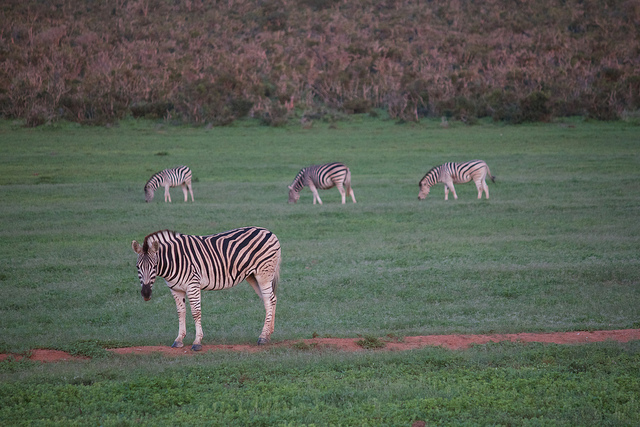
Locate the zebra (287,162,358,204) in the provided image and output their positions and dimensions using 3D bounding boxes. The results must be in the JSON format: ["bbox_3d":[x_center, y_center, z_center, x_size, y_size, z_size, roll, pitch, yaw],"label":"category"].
[{"bbox_3d":[-0.031,-1.973,86.888,5.196,2.920,1.571,-7,2,18],"label":"zebra"}]

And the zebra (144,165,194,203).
[{"bbox_3d":[-10.960,-2.153,87.458,3.519,2.500,2.212,-3,5,-7],"label":"zebra"}]

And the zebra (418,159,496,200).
[{"bbox_3d":[9.811,-2.271,86.647,5.665,2.963,1.629,-4,-12,10],"label":"zebra"}]

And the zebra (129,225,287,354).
[{"bbox_3d":[-7.035,4.518,76.108,10.667,7.678,3.150,-6,4,-35],"label":"zebra"}]
